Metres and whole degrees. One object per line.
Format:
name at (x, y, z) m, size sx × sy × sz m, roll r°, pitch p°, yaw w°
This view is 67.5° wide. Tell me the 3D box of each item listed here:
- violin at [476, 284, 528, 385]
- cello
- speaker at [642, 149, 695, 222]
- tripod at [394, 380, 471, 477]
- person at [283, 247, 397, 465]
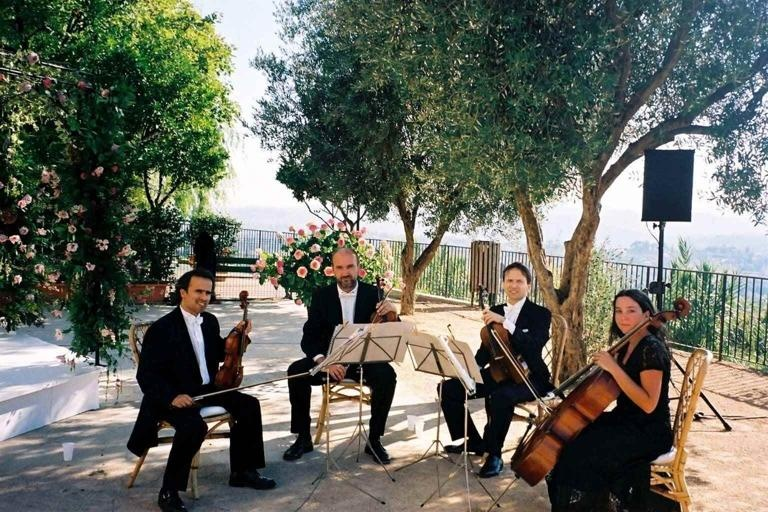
violin at (1.229, 0.930, 6.196) m, size 0.253 × 0.834 × 0.410 m, roll -12°, pitch -12°, yaw -35°
cello at (2.035, 1.296, 5.616) m, size 0.514 × 2.359 × 0.969 m, roll 40°, pitch -4°, yaw 20°
speaker at (3.929, -0.989, 7.991) m, size 0.630 × 0.994 × 0.297 m, roll 1°, pitch 1°, yaw 27°
tripod at (0.580, 1.868, 6.575) m, size 0.733 × 0.961 × 0.780 m, roll 2°, pitch 1°, yaw 16°
person at (-0.535, 0.976, 6.868) m, size 0.974 × 2.683 × 1.113 m, roll 1°, pitch 0°, yaw -20°
